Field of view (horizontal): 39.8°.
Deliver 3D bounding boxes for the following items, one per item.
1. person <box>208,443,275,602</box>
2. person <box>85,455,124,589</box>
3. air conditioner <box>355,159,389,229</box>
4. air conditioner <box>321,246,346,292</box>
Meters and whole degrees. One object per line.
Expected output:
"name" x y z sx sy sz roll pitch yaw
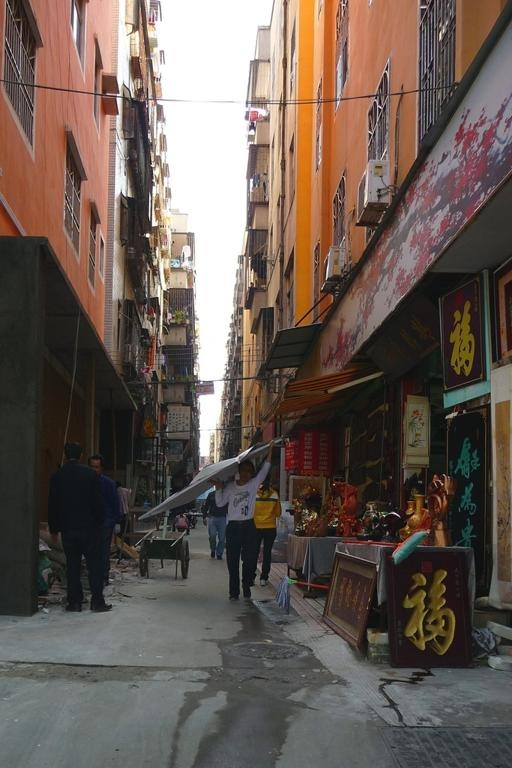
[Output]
"person" -0.182 1.809 8.872 0.596 1.742 0.554 11 -14 -40
"person" -2.014 1.815 9.111 0.471 2.075 0.538 2 18 -7
"air conditioner" 1.545 -2.462 9.228 0.399 0.659 0.894 1 -14 7
"air conditioner" 1.424 -2.261 13.016 0.437 1.098 1.137 1 -13 6
